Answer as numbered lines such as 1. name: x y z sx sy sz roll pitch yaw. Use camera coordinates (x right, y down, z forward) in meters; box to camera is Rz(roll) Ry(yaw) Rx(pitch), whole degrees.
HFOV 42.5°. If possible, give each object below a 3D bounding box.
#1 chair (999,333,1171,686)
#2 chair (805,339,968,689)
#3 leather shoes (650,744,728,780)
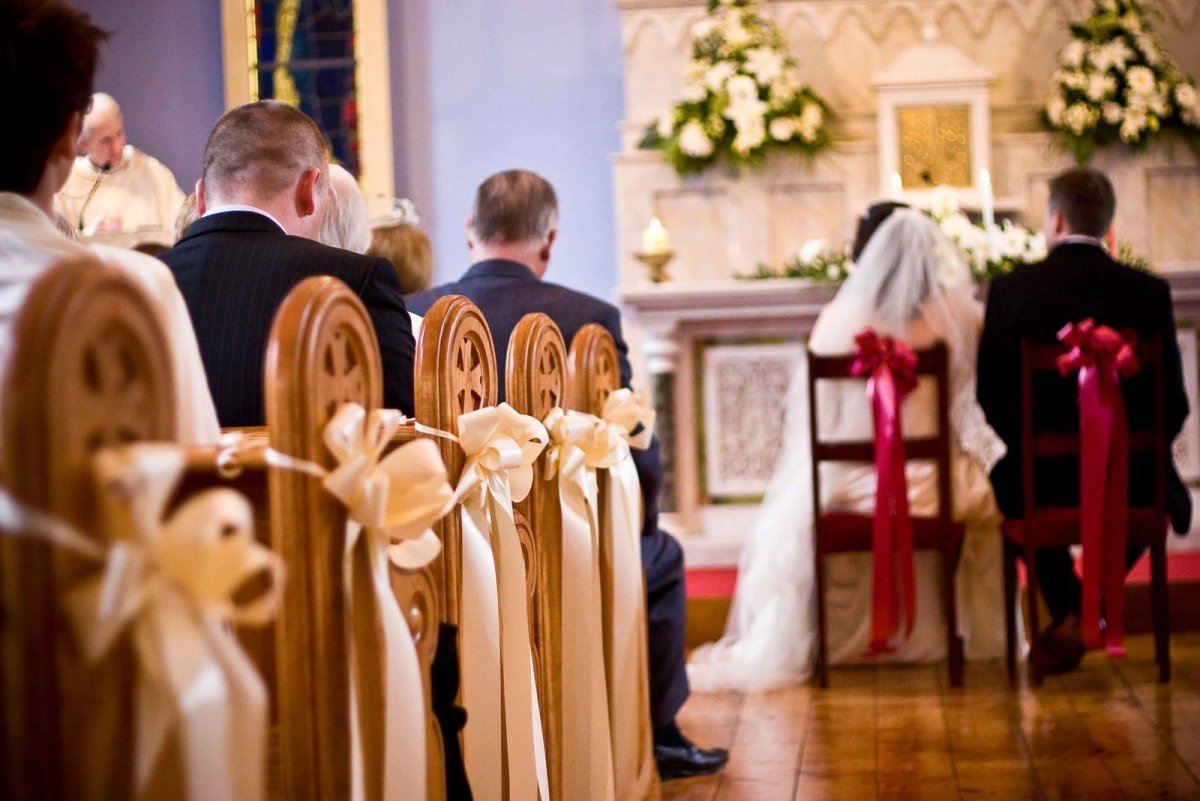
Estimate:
1. chair: 1.879 0.401 5.951 0.638 1.356 0.580 -1 12 5
2. chair: 1.114 0.414 6.025 0.615 1.367 0.497 0 12 10
3. leather shoes: 0.306 1.252 5.397 0.260 0.123 0.103 -5 2 -6
